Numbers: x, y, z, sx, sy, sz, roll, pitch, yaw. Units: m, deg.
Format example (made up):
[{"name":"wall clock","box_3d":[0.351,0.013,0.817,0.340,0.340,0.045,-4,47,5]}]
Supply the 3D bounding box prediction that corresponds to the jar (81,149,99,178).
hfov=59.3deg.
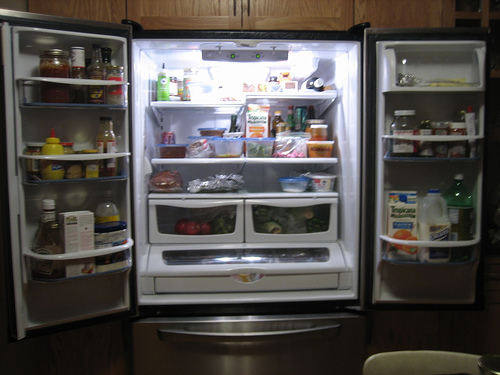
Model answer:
[{"name":"jar","box_3d":[-0.742,-0.107,1.992,0.094,0.127,0.086,3,4,0]}]

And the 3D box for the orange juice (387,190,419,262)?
[{"name":"orange juice","box_3d":[0.696,0.187,2.155,0.145,0.330,0.154,1,11,0]}]

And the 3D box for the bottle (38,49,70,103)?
[{"name":"bottle","box_3d":[-0.860,-0.482,1.976,0.228,0.234,0.213,-5,14,-26]}]

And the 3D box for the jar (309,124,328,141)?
[{"name":"jar","box_3d":[0.383,-0.307,2.463,0.103,0.087,0.093,0,1,-6]}]

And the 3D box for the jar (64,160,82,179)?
[{"name":"jar","box_3d":[-0.780,-0.079,1.939,0.085,0.077,0.079,1,0,0]}]

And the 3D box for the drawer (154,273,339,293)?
[{"name":"drawer","box_3d":[-0.067,0.486,2.256,0.806,0.068,0.396,-1,5,-9]}]

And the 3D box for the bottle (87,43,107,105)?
[{"name":"bottle","box_3d":[-0.691,-0.504,1.983,0.100,0.267,0.079,17,17,35]}]

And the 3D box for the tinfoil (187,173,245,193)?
[{"name":"tinfoil","box_3d":[-0.186,-0.024,2.619,0.411,0.090,0.333,-2,7,0]}]

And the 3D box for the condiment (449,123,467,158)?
[{"name":"condiment","box_3d":[0.974,-0.223,2.075,0.079,0.158,0.056,1,11,18]}]

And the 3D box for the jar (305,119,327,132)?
[{"name":"jar","box_3d":[0.373,-0.357,2.537,0.105,0.082,0.100,1,4,0]}]

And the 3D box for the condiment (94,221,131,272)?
[{"name":"condiment","box_3d":[-0.681,0.285,2.078,0.210,0.193,0.202,-5,0,28]}]

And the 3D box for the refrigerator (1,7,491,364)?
[{"name":"refrigerator","box_3d":[-0.003,0.030,2.148,2.134,1.272,0.985,0,6,-2]}]

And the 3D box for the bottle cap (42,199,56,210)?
[{"name":"bottle cap","box_3d":[-0.878,0.074,1.919,0.051,0.037,0.048,-1,8,-21]}]

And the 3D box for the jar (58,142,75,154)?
[{"name":"jar","box_3d":[-0.810,-0.176,1.959,0.057,0.045,0.053,1,6,0]}]

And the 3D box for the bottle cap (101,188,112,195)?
[{"name":"bottle cap","box_3d":[-0.676,0.019,2.075,0.032,0.015,0.031,3,3,33]}]

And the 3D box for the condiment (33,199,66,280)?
[{"name":"condiment","box_3d":[-0.863,0.221,1.942,0.155,0.333,0.134,1,11,-16]}]

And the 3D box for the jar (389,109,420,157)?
[{"name":"jar","box_3d":[0.744,-0.264,2.131,0.137,0.217,0.193,1,10,16]}]

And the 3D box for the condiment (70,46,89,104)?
[{"name":"condiment","box_3d":[-0.752,-0.505,1.987,0.073,0.241,0.087,3,12,2]}]

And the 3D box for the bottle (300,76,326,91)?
[{"name":"bottle","box_3d":[0.347,-0.582,2.457,0.120,0.054,0.084,7,13,33]}]

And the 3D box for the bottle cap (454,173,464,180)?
[{"name":"bottle cap","box_3d":[1.006,-0.054,2.141,0.038,0.017,0.035,-1,5,-2]}]

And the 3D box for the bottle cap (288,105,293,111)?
[{"name":"bottle cap","box_3d":[0.234,-0.473,2.613,0.039,0.030,0.034,1,2,2]}]

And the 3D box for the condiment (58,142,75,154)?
[{"name":"condiment","box_3d":[-0.816,-0.176,1.956,0.053,0.043,0.051,-1,4,-35]}]

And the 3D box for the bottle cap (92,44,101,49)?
[{"name":"bottle cap","box_3d":[-0.693,-0.636,1.983,0.033,0.017,0.030,1,5,-7]}]

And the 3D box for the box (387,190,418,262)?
[{"name":"box","box_3d":[0.719,0.181,2.162,0.181,0.348,0.129,4,-5,-9]}]

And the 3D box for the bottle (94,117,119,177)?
[{"name":"bottle","box_3d":[-0.649,-0.183,1.998,0.093,0.257,0.116,9,9,13]}]

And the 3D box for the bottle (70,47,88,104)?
[{"name":"bottle","box_3d":[-0.765,-0.499,1.961,0.067,0.232,0.082,3,12,2]}]

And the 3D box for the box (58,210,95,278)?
[{"name":"box","box_3d":[-0.757,0.246,1.930,0.097,0.267,0.159,-1,12,-26]}]

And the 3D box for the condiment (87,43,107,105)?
[{"name":"condiment","box_3d":[-0.689,-0.504,1.987,0.100,0.265,0.078,16,17,34]}]

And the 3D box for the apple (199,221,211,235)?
[{"name":"apple","box_3d":[-0.253,0.223,2.415,0.065,0.063,0.059,-5,1,-11]}]

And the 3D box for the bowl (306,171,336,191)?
[{"name":"bowl","box_3d":[0.407,-0.033,2.485,0.129,0.057,0.117,0,5,-4]}]

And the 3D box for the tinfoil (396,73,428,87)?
[{"name":"tinfoil","box_3d":[0.753,-0.507,2.088,0.163,0.064,0.088,-6,10,-23]}]

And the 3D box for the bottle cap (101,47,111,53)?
[{"name":"bottle cap","box_3d":[-0.654,-0.619,1.992,0.034,0.010,0.032,-1,6,-18]}]

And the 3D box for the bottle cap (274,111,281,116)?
[{"name":"bottle cap","box_3d":[0.157,-0.435,2.597,0.034,0.019,0.030,1,4,3]}]

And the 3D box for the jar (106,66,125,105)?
[{"name":"jar","box_3d":[-0.613,-0.460,1.993,0.081,0.175,0.056,-3,10,-3]}]

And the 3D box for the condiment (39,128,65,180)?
[{"name":"condiment","box_3d":[-0.862,-0.143,1.921,0.122,0.217,0.122,11,11,42]}]

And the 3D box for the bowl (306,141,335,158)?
[{"name":"bowl","box_3d":[0.385,-0.215,2.495,0.115,0.054,0.105,1,1,0]}]

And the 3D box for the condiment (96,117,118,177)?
[{"name":"condiment","box_3d":[-0.652,-0.185,2.000,0.083,0.243,0.106,8,9,13]}]

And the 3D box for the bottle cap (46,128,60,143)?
[{"name":"bottle cap","box_3d":[-0.850,-0.224,1.896,0.071,0.065,0.065,0,3,-5]}]

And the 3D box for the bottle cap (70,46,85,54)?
[{"name":"bottle cap","box_3d":[-0.776,-0.610,1.972,0.054,0.040,0.049,0,4,-14]}]

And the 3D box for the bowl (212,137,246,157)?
[{"name":"bowl","box_3d":[-0.121,-0.223,2.430,0.137,0.071,0.134,0,0,0]}]

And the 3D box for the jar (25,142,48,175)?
[{"name":"jar","box_3d":[-0.935,-0.128,1.924,0.085,0.136,0.134,-7,11,-25]}]

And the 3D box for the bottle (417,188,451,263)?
[{"name":"bottle","box_3d":[0.869,0.190,2.162,0.177,0.347,0.159,1,-1,-12]}]
